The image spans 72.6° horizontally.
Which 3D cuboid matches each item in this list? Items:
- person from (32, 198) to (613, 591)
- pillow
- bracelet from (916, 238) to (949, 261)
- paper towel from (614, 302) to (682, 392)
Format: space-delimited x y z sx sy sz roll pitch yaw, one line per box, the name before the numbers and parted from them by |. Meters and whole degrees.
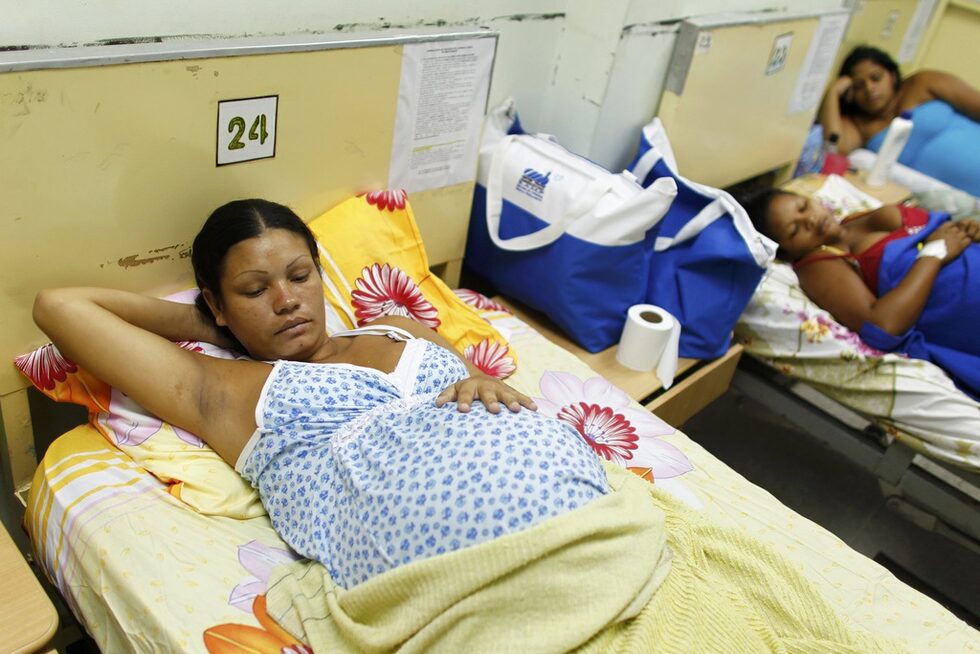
person | -0.443 0.176 1.619 1.167 0.421 0.918 34 38 28
pillow | -0.537 0.179 2.124 1.112 0.446 1.458 5 -15 30
bracelet | 1.788 -0.311 2.687 0.110 0.026 0.102 3 59 6
paper towel | 0.557 0.024 2.341 0.167 0.187 0.246 22 31 18
